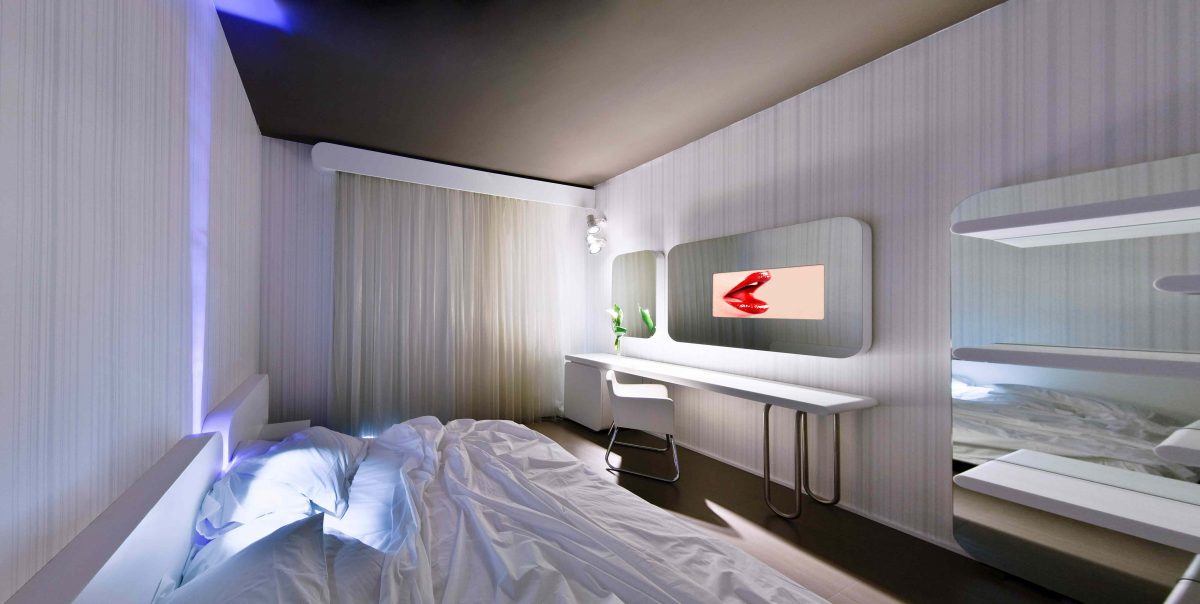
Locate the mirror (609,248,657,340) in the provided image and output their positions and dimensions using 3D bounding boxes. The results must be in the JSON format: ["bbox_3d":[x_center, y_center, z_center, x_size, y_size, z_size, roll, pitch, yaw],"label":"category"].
[{"bbox_3d":[0.350,-0.098,6.965,0.175,0.923,0.766,-3,5,-32],"label":"mirror"}]

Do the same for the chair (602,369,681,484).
[{"bbox_3d":[0.386,1.126,6.148,1.004,0.931,1.104,0,-3,2],"label":"chair"}]
